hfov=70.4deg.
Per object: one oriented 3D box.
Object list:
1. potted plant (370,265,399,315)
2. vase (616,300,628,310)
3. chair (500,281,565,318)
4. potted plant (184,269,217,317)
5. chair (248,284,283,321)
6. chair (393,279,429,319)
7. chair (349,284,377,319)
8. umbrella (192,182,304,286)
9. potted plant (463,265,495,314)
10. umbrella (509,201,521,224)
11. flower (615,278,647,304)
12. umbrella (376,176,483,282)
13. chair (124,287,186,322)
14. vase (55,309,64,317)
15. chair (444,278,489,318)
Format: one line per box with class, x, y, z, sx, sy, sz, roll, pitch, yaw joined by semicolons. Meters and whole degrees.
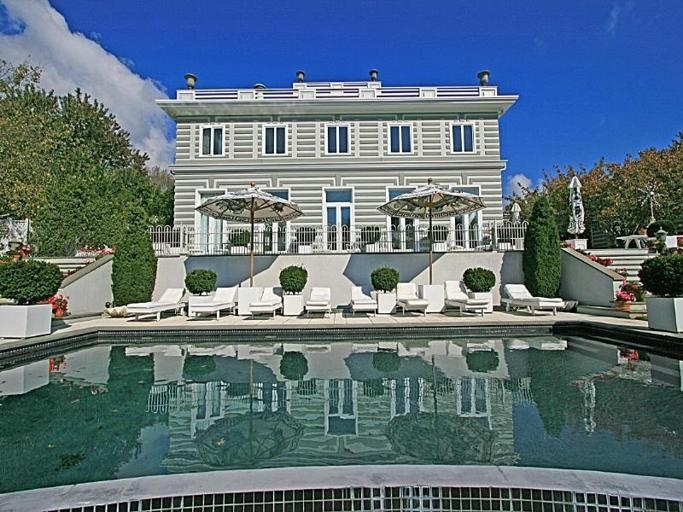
potted plant;1.590;1.304;17.761;1.494;2.155;1.332;0;-12;-3
vase;9.131;1.593;15.709;0.288;0.197;0.287;1;-6;-12
chair;6.711;1.524;17.142;0.923;0.758;1.893;0;-4;-9
potted plant;-5.200;1.058;17.854;0.993;1.033;0.943;1;-5;-9
chair;-2.635;1.577;16.982;0.663;0.838;1.243;-1;-4;7
chair;2.449;1.465;17.188;0.711;0.850;1.316;1;-2;-6
chair;0.818;1.667;17.492;0.904;0.981;1.580;0;-6;-2
umbrella;-3.889;-0.747;19.705;3.771;4.500;3.851;-3;-10;15
potted plant;5.015;1.175;17.588;1.492;1.807;1.329;0;-6;-2
umbrella;7.385;-1.831;20.355;0.292;0.911;1.507;3;3;20
flower;9.413;1.107;15.764;0.714;0.560;0.795;-3;5;-38
umbrella;3.806;-1.441;19.217;4.015;4.674;4.226;-3;3;-2
chair;-6.353;1.636;16.811;0.821;0.848;2.004;-2;-4;13
vase;-9.218;1.869;15.802;0.193;0.147;0.195;-5;-2;18
chair;4.364;1.446;17.190;0.838;0.948;1.544;1;-3;-11
